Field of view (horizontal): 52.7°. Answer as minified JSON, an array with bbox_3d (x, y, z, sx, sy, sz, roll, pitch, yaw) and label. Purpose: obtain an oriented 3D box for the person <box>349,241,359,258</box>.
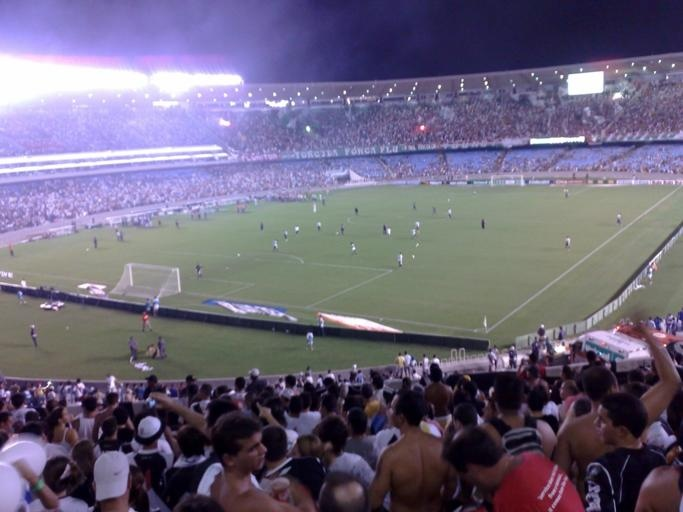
[{"bbox_3d":[0.863,-0.490,51.353,0.944,1.071,2.337,1,5,-2],"label":"person"}]
